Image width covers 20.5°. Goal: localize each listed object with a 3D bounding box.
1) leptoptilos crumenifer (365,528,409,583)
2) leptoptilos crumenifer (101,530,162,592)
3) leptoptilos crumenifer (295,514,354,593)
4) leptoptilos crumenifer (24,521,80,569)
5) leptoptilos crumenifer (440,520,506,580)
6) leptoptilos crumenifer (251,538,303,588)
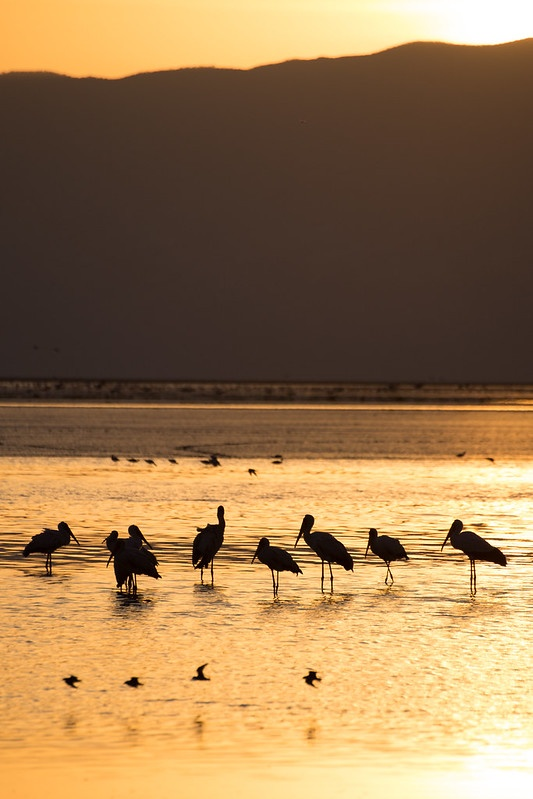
[{"bbox_3d":[1.290,1.504,14.784,0.306,0.654,0.623,0,-3,-42],"label":"leptoptilos crumenifer"},{"bbox_3d":[-1.233,1.468,13.520,0.469,0.560,0.257,-17,25,-15],"label":"leptoptilos crumenifer"},{"bbox_3d":[0.603,1.462,14.112,0.545,0.836,0.251,-3,20,4],"label":"leptoptilos crumenifer"},{"bbox_3d":[-2.249,1.553,15.260,0.538,0.620,0.195,1,15,-10],"label":"leptoptilos crumenifer"},{"bbox_3d":[2.023,1.498,14.239,0.590,0.814,0.227,-9,-29,14],"label":"leptoptilos crumenifer"},{"bbox_3d":[0.088,1.594,13.866,0.569,0.648,0.220,5,13,20],"label":"leptoptilos crumenifer"}]
